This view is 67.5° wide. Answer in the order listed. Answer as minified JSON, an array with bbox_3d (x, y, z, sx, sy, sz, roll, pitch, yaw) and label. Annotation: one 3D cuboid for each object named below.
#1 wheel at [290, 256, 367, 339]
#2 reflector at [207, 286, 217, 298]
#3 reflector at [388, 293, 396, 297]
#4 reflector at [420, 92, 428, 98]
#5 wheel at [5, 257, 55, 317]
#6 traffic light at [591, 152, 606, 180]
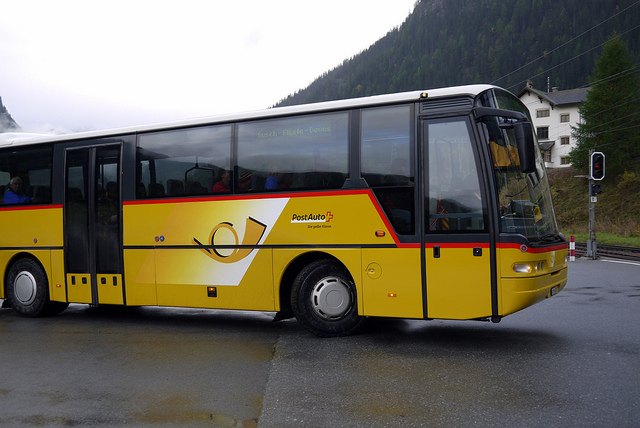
[{"bbox_3d":[0.260,1.627,9.504,1.758,1.983,0.654,-9,-17,16],"label":"wheel"},{"bbox_3d":[-2.259,1.603,9.978,0.200,0.244,0.026,4,8,29],"label":"reflector"},{"bbox_3d":[1.303,1.464,8.737,0.137,0.058,0.005,-1,0,16],"label":"reflector"},{"bbox_3d":[1.896,-2.172,8.794,0.082,0.094,0.026,-1,-13,13],"label":"reflector"},{"bbox_3d":[-7.059,1.721,11.685,1.284,1.457,0.476,3,3,21],"label":"wheel"},{"bbox_3d":[13.165,-2.306,22.768,0.507,1.283,0.909,-1,0,28],"label":"traffic light"}]
